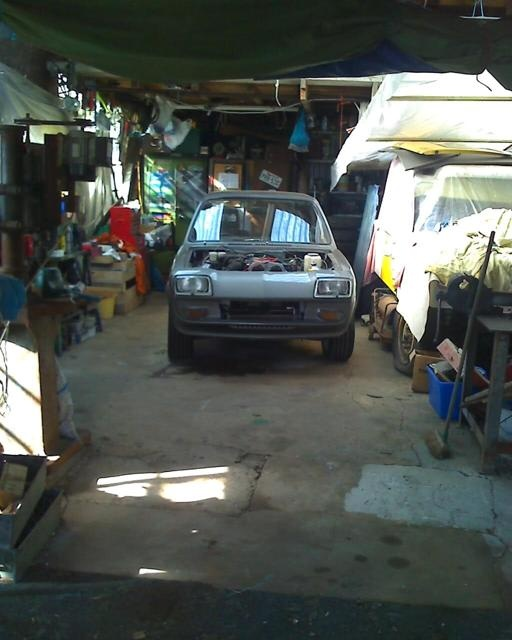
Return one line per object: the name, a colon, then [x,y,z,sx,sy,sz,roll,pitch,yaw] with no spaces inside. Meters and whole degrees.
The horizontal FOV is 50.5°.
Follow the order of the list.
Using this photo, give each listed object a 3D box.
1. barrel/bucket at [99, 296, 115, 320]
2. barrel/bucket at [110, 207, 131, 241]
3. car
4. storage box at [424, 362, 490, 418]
barrel/bucket: [-1.865,-0.150,6.762,0.298,0.263,0.285,2,7,0]
barrel/bucket: [-1.963,-1.400,7.930,0.327,0.477,0.616,-1,12,-15]
car: [0.032,-0.396,5.227,1.734,1.605,1.549,0,11,-9]
storage box: [1.413,0.509,3.976,0.489,0.296,0.312,-1,11,-9]
